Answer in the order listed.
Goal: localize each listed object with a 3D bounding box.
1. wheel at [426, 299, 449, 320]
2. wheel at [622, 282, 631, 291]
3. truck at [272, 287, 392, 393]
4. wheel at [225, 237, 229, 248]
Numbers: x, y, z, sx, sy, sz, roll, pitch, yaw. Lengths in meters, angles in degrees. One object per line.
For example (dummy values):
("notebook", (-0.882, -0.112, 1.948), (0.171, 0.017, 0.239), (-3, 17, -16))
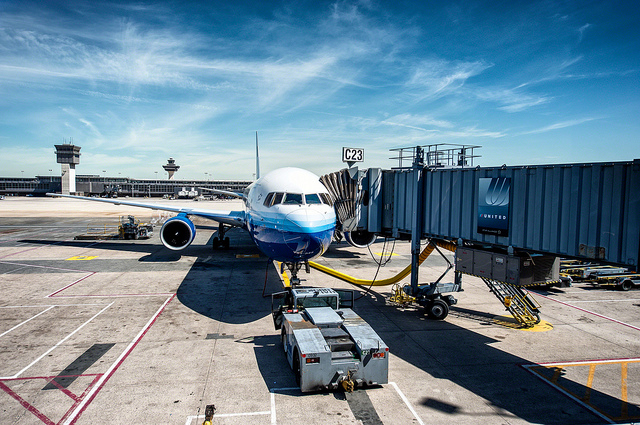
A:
("wheel", (6.659, 5.568, 22.958), (1.088, 0.861, 0.405), (-17, -9, 5))
("wheel", (21.741, 5.267, 28.532), (0.806, 0.598, 0.224), (-2, 10, -27))
("truck", (0.176, 5.544, 18.686), (4.425, 2.242, 6.368), (1, 10, -15))
("wheel", (-9.411, 3.093, 40.640), (0.430, 0.922, 1.074), (-2, 2, -18))
